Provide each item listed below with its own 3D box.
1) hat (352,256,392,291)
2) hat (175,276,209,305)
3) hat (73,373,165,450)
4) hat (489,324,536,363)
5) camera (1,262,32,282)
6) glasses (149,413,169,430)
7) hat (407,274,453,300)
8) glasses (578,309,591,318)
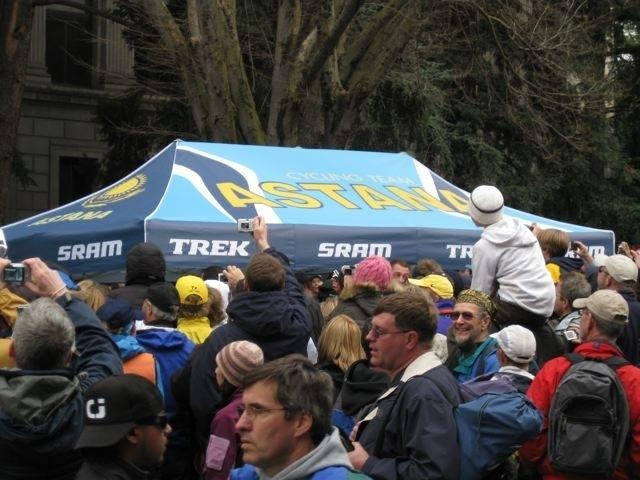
[{"bbox_3d":[0.760,0.483,17.150,0.562,0.540,0.439,-2,-2,10],"label":"hat"},{"bbox_3d":[-1.702,0.670,15.918,0.452,0.381,0.344,-1,-1,-14],"label":"hat"},{"bbox_3d":[-2.395,1.899,13.934,0.926,0.633,1.230,-9,11,29],"label":"hat"},{"bbox_3d":[2.445,1.300,15.330,0.530,0.360,0.724,7,9,-25],"label":"hat"},{"bbox_3d":[-3.761,0.411,14.660,0.385,0.254,0.118,-2,-1,25],"label":"camera"},{"bbox_3d":[-1.852,2.087,13.782,0.197,0.109,0.144,0,-1,0],"label":"glasses"},{"bbox_3d":[1.632,0.662,17.430,0.536,0.184,0.336,16,2,3],"label":"hat"},{"bbox_3d":[3.446,0.961,15.488,0.112,0.060,0.148,7,7,3],"label":"glasses"}]
